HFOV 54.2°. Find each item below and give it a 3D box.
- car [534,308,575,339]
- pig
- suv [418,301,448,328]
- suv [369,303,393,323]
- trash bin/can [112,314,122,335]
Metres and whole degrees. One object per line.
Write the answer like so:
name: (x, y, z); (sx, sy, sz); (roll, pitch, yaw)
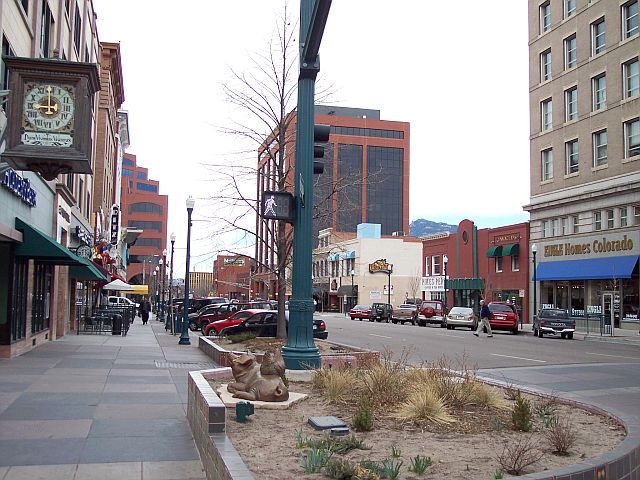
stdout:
car: (13.148, 4.690, 34.886); (1.541, 1.742, 2.466); (5, -9, -22)
pig: (-1.059, 2.360, 10.938); (0.942, 0.723, 0.759); (8, -4, 28)
suv: (8.700, 5.807, 48.053); (1.870, 1.789, 3.664); (0, -2, 13)
suv: (5.620, 6.724, 57.560); (1.193, 1.177, 2.051); (-1, -3, 28)
trash bin/can: (-9.927, 4.208, 30.486); (0.443, 0.898, 0.503); (4, -8, -19)
